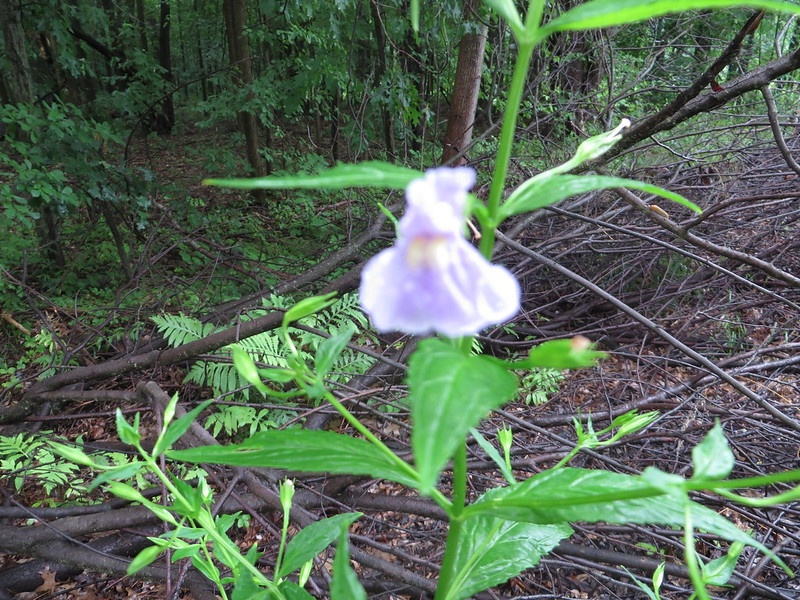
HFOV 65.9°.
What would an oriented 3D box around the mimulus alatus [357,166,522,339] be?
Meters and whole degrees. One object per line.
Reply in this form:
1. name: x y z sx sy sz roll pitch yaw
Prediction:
1. mimulus alatus: 0.125 -0.174 2.363 0.598 0.589 0.449 -9 34 -16
